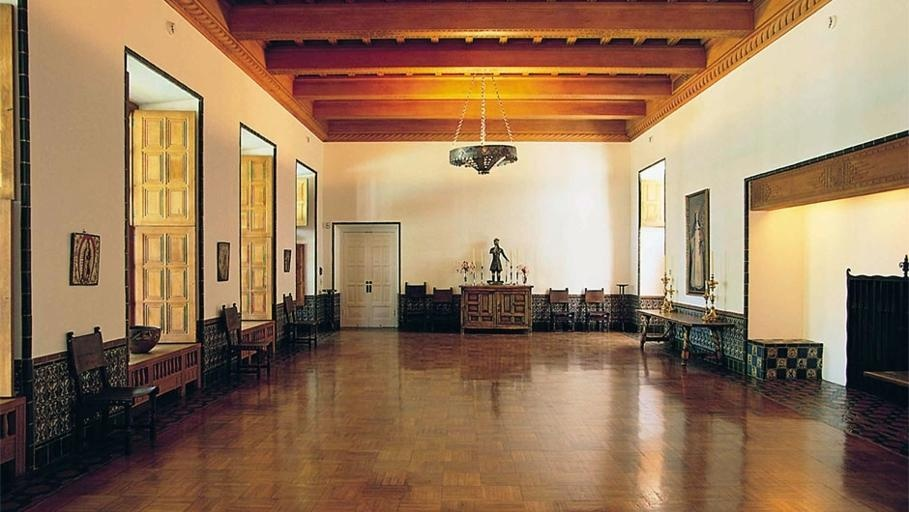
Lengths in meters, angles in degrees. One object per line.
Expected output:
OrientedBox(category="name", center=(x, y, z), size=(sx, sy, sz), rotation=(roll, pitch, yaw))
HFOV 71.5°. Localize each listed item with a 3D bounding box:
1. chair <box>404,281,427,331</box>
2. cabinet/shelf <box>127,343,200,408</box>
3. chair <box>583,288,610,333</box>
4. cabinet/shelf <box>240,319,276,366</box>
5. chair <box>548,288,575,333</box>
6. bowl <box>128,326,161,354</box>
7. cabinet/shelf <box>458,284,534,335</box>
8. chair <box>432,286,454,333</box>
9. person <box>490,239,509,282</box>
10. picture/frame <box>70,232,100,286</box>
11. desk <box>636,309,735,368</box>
OrientedBox(category="chair", center=(-1.166, 1.476, 18.517), size=(0.762, 1.333, 0.366), rotation=(-1, 5, -5))
OrientedBox(category="cabinet/shelf", center=(-5.574, 2.232, 11.661), size=(0.685, 0.873, 2.005), rotation=(-1, 3, 10))
OrientedBox(category="chair", center=(4.146, 1.587, 18.346), size=(0.793, 1.205, 0.600), rotation=(0, 5, 5))
OrientedBox(category="cabinet/shelf", center=(-4.454, 1.890, 14.367), size=(0.399, 0.594, 1.233), rotation=(-6, 0, -4))
OrientedBox(category="chair", center=(3.056, 1.554, 18.190), size=(0.812, 1.134, 0.764), rotation=(0, 2, -24))
OrientedBox(category="bowl", center=(-5.722, 1.552, 11.667), size=(0.484, 0.301, 0.482), rotation=(-2, -5, 0))
OrientedBox(category="cabinet/shelf", center=(1.255, 1.500, 18.157), size=(2.099, 1.319, 0.753), rotation=(0, -3, 14))
OrientedBox(category="chair", center=(-0.331, 1.551, 18.512), size=(0.656, 1.214, 0.333), rotation=(0, 5, -2))
OrientedBox(category="person", center=(1.234, 0.118, 18.408), size=(0.519, 1.281, 0.669), rotation=(3, 6, 27))
OrientedBox(category="picture/frame", center=(-6.051, 0.057, 10.303), size=(0.090, 0.878, 0.485), rotation=(3, 6, 27))
OrientedBox(category="desk", center=(5.302, 1.828, 15.318), size=(1.148, 1.181, 3.482), rotation=(0, 5, -5))
